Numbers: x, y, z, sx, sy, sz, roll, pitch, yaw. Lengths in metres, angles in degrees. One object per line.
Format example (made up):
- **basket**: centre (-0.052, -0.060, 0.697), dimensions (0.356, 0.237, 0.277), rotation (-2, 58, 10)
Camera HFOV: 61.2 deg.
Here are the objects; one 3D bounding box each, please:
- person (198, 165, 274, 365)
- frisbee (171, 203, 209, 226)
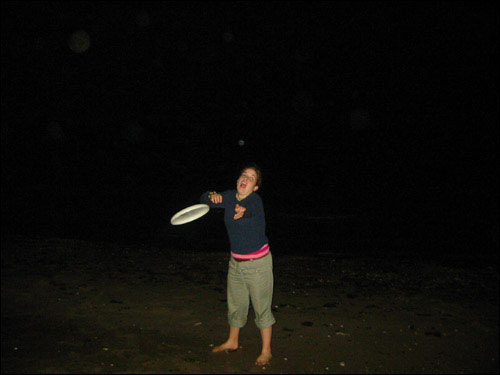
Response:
- **person**: centre (-0.115, 1.124, 6.012), dimensions (0.836, 2.688, 0.829), rotation (-4, -17, 2)
- **frisbee**: centre (-0.917, 0.411, 6.495), dimensions (0.400, 0.107, 0.407), rotation (-31, -19, 5)
